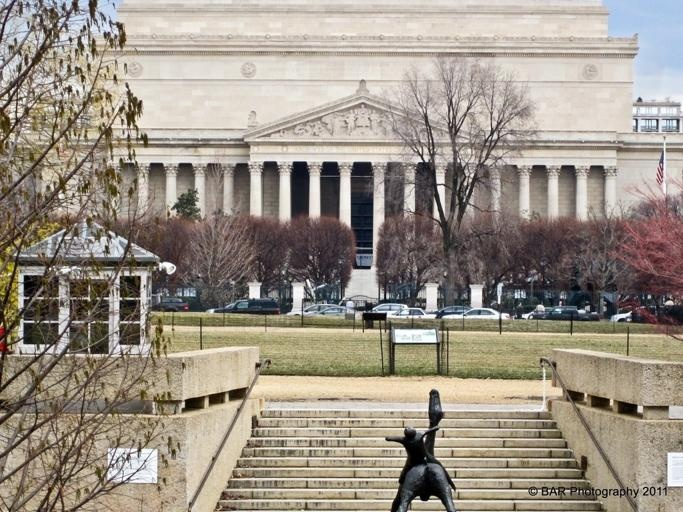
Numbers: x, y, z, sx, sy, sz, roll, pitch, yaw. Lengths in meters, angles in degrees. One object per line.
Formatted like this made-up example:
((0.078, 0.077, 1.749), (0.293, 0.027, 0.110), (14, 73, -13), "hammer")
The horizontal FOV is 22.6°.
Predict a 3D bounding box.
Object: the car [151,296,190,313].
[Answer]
((-10.246, 2.756, 100.048), (2.562, 0.997, 1.273), (5, -1, -3), "car")
